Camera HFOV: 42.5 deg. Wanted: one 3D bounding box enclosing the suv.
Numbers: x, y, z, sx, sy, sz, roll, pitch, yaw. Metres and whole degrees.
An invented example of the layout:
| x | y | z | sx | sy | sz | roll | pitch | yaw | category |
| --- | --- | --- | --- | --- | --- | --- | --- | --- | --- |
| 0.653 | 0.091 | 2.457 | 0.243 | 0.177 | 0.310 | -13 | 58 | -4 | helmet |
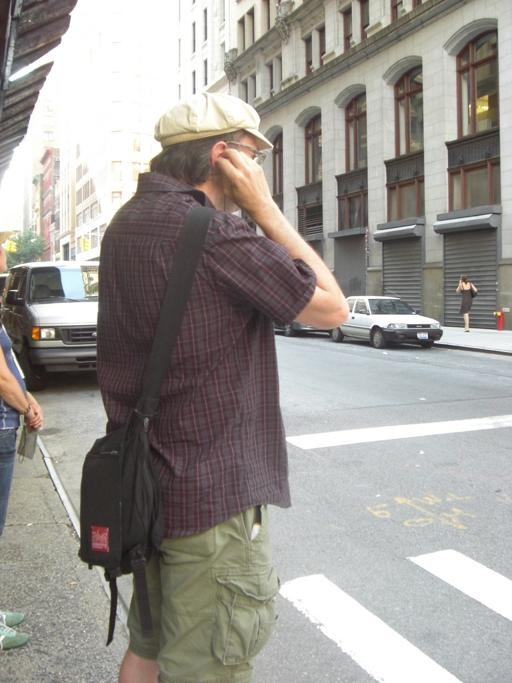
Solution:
| x | y | z | sx | sy | sz | roll | pitch | yaw | category |
| --- | --- | --- | --- | --- | --- | --- | --- | --- | --- |
| -3.167 | -0.457 | 10.585 | 1.584 | 1.548 | 2.909 | -1 | 1 | -24 | suv |

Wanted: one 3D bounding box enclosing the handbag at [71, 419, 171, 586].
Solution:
| x | y | z | sx | sy | sz | roll | pitch | yaw | category |
| --- | --- | --- | --- | --- | --- | --- | --- | --- | --- |
| -0.308 | 0.349 | 1.480 | 0.162 | 0.395 | 0.155 | 1 | -29 | -7 | handbag |

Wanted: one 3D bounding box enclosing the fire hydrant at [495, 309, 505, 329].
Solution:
| x | y | z | sx | sy | sz | roll | pitch | yaw | category |
| --- | --- | --- | --- | --- | --- | --- | --- | --- | --- |
| 7.810 | -0.696 | 21.248 | 0.266 | 0.660 | 0.634 | 1 | 4 | 20 | fire hydrant |

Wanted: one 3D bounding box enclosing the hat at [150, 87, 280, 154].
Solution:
| x | y | z | sx | sy | sz | roll | pitch | yaw | category |
| --- | --- | --- | --- | --- | --- | --- | --- | --- | --- |
| -0.089 | -0.541 | 1.609 | 0.287 | 0.132 | 0.202 | -2 | 10 | -7 | hat |

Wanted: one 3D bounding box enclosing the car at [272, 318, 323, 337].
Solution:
| x | y | z | sx | sy | sz | roll | pitch | yaw | category |
| --- | --- | --- | --- | --- | --- | --- | --- | --- | --- |
| 1.335 | -0.373 | 22.165 | 1.826 | 0.816 | 0.914 | -3 | 5 | -32 | car |

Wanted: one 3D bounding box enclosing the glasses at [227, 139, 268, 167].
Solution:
| x | y | z | sx | sy | sz | roll | pitch | yaw | category |
| --- | --- | --- | --- | --- | --- | --- | --- | --- | --- |
| -0.022 | -0.466 | 1.587 | 0.057 | 0.018 | 0.057 | 24 | 6 | 11 | glasses |
